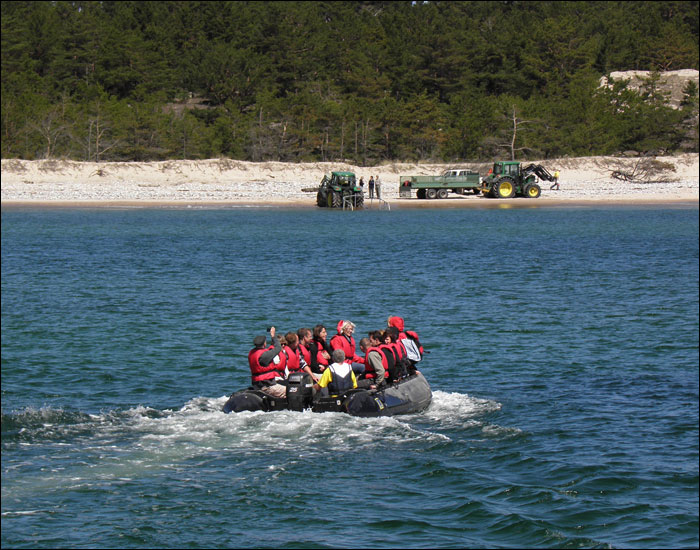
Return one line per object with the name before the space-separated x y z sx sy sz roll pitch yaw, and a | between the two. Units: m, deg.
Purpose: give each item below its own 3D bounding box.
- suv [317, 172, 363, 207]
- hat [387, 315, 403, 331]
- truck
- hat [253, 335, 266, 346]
suv | -0.467 -6.256 99.316 2.355 1.782 3.814 1 2 -10
hat | 1.840 1.775 48.943 0.656 0.461 0.442 27 19 16
truck | 10.249 -7.281 102.978 11.249 3.578 5.346 6 11 30
hat | -3.187 2.445 47.491 0.350 0.421 0.295 1 11 2
